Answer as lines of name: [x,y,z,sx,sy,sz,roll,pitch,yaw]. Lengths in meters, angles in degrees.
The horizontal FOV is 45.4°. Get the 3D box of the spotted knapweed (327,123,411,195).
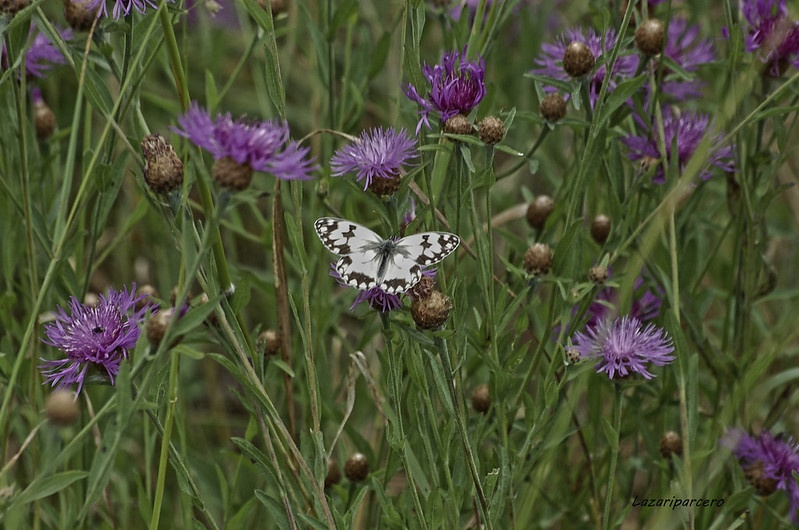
spotted knapweed: [-0.022,-0.195,1.757,0.094,0.101,0.103,1,93,27]

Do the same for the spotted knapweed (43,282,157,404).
spotted knapweed: [-0.547,0.150,1.735,0.154,0.187,0.146,9,97,1]

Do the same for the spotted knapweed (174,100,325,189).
spotted knapweed: [-0.258,-0.166,1.567,0.161,0.170,0.078,34,85,0]

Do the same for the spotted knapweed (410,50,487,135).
spotted knapweed: [0.096,-0.309,1.785,0.121,0.093,0.152,-16,51,-16]

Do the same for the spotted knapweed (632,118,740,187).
spotted knapweed: [0.565,-0.240,1.871,0.128,0.151,0.128,0,107,-23]
